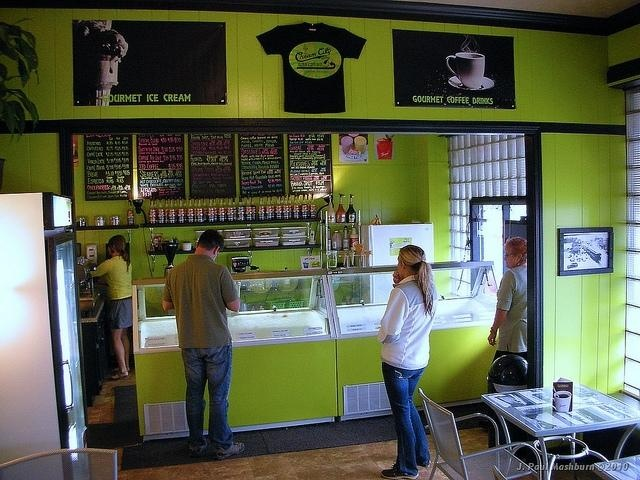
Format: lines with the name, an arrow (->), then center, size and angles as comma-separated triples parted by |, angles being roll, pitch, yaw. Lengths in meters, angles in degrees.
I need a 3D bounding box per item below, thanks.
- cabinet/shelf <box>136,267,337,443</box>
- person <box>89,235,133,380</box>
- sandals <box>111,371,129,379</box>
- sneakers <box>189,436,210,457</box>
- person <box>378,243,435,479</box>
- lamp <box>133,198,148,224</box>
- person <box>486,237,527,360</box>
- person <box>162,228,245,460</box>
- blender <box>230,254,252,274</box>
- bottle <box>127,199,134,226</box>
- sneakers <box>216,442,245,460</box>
cabinet/shelf -> -0.802, 1.123, 4.969 | 1.569, 1.192, 0.548 | -1, 1, -14
person -> -2.587, 0.836, 6.831 | 0.442, 1.741, 0.567 | -6, 8, -23
sandals -> -2.493, 1.684, 6.713 | 0.222, 0.090, 0.082 | 2, -1, 1
sneakers -> -1.068, 1.823, 4.790 | 0.091, 0.129, 0.260 | 1, 5, 0
person -> 0.710, 0.989, 4.368 | 0.524, 1.866, 0.285 | -6, 8, -26
lamp -> -2.439, -0.400, 7.289 | 0.178, 0.335, 0.202 | -6, 8, -20
person -> 1.769, 0.567, 5.065 | 0.346, 1.130, 0.237 | -1, 7, 13
person -> -1.008, 0.922, 4.729 | 0.645, 1.962, 0.395 | -4, 7, -13
blender -> -1.082, 0.345, 7.359 | 0.287, 0.202, 0.194 | 0, -3, -21
bottle -> -2.570, -0.373, 7.284 | 0.100, 0.340, 0.239 | -5, 8, -19
sneakers -> -0.789, 1.850, 4.792 | 0.268, 0.125, 0.095 | -9, 10, -35
